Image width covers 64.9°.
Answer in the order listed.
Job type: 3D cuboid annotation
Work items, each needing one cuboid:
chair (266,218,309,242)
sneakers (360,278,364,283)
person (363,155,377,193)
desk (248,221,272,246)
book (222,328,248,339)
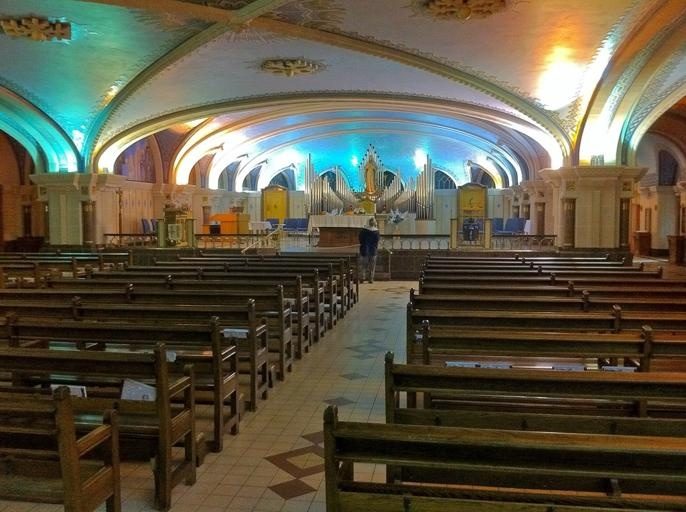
[{"bbox_3d":[-2.379,-1.105,23.486,2.135,0.671,0.526,0,-2,10],"label":"chair"},{"bbox_3d":[0.550,0.743,15.879,0.156,0.098,0.089,-1,-3,5],"label":"sneakers"},{"bbox_3d":[1.189,-3.573,23.918,0.555,1.657,0.601,-3,8,4],"label":"person"},{"bbox_3d":[-3.287,-0.917,21.578,0.857,0.759,6.823,-4,6,-9],"label":"desk"},{"bbox_3d":[-1.084,0.775,5.424,0.177,0.044,0.168,0,-1,14],"label":"book"}]
